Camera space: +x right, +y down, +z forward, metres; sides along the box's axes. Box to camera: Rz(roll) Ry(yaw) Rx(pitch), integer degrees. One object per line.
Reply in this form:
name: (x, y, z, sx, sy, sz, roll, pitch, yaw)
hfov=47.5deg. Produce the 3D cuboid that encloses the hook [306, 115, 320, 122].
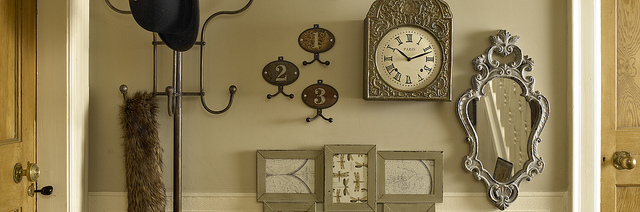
hook: (-0.097, 0.166, 10.233, 0.215, 0.052, 0.059, -22, -4, -11)

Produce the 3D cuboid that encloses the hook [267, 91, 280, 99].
hook: (-0.686, -0.149, 10.193, 0.221, 0.062, 0.068, -17, -36, 4)

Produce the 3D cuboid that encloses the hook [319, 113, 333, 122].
hook: (0.085, 0.167, 10.221, 0.163, 0.082, 0.084, 30, 16, -24)

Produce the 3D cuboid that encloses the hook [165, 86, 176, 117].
hook: (-2.076, -0.079, 10.046, 0.121, 0.415, 0.168, -6, -13, 21)

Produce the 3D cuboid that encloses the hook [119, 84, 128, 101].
hook: (-2.739, -0.191, 10.097, 0.101, 0.221, 0.171, 1, -11, -13)

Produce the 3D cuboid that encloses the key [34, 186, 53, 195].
key: (-3.820, 1.152, 10.004, 0.238, 0.111, 0.112, 1, -11, -15)
